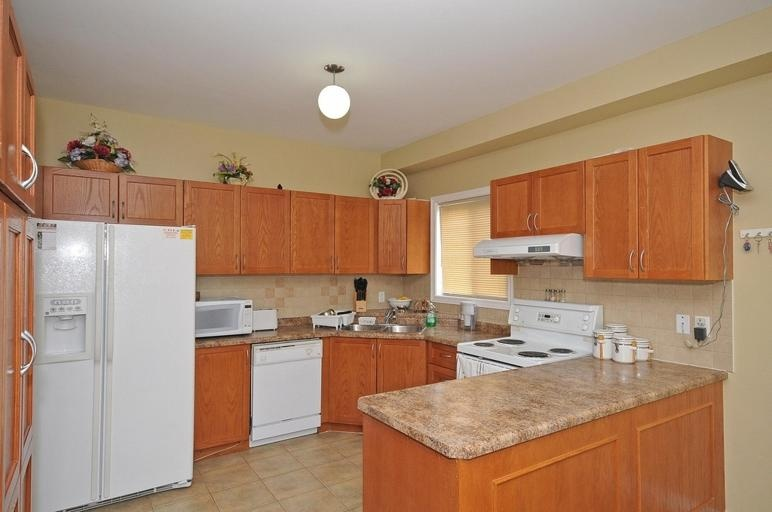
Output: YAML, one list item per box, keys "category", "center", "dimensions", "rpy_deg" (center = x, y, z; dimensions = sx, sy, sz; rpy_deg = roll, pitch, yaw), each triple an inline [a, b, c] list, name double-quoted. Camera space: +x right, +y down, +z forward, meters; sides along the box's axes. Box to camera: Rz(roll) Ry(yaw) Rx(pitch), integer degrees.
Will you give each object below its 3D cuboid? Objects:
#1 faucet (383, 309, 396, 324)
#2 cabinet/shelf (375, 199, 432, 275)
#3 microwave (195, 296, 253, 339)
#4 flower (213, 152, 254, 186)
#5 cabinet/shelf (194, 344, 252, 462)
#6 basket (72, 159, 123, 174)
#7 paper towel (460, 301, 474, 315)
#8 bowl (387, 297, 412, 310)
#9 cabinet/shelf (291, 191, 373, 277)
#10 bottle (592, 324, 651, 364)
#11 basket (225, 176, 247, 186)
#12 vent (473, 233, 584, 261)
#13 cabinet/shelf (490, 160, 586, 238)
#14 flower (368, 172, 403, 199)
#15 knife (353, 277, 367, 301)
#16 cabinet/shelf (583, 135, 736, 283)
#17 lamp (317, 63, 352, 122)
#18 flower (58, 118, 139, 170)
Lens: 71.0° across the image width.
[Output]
- category: "faucet"
  center: [0.040, 0.665, 5.876]
  dimensions: [0.118, 0.123, 0.226]
  rpy_deg: [-1, -7, 3]
- category: "cabinet/shelf"
  center: [0.208, -0.224, 6.028]
  dimensions: [0.637, 0.804, 0.267]
  rpy_deg: [-1, 12, -10]
- category: "microwave"
  center: [-1.470, 0.572, 4.979]
  dimensions: [0.510, 0.298, 0.343]
  rpy_deg: [2, -6, -33]
- category: "flower"
  center: [-1.542, -0.880, 5.380]
  dimensions: [0.407, 0.278, 0.398]
  rpy_deg: [-3, -7, 23]
- category: "cabinet/shelf"
  center: [-1.466, 1.244, 4.847]
  dimensions: [0.517, 0.864, 0.234]
  rpy_deg: [-3, 13, -21]
- category: "basket"
  center: [-2.491, -0.781, 4.685]
  dimensions: [0.345, 0.117, 0.117]
  rpy_deg: [-5, 13, -28]
- category: "paper towel"
  center: [0.825, 0.540, 5.542]
  dimensions: [0.191, 0.166, 0.105]
  rpy_deg: [-5, -11, 44]
- category: "bowl"
  center: [0.160, 0.537, 6.313]
  dimensions: [0.284, 0.144, 0.319]
  rpy_deg: [1, 11, 0]
- category: "cabinet/shelf"
  center: [-0.593, -0.225, 5.670]
  dimensions: [0.995, 0.750, 0.366]
  rpy_deg: [1, -2, -30]
- category: "bottle"
  center: [1.840, 0.676, 4.204]
  dimensions: [0.268, 0.165, 0.344]
  rpy_deg: [1, -1, -35]
- category: "basket"
  center: [-1.455, -0.728, 5.232]
  dimensions: [0.123, 0.041, 0.107]
  rpy_deg: [-1, -2, 16]
- category: "vent"
  center: [1.208, -0.091, 4.593]
  dimensions: [0.253, 0.286, 0.916]
  rpy_deg: [-9, 15, -41]
- category: "cabinet/shelf"
  center: [1.314, -0.461, 4.611]
  dimensions: [0.309, 0.529, 0.788]
  rpy_deg: [7, -6, -41]
- category: "flower"
  center: [0.032, -0.814, 6.123]
  dimensions: [0.408, 0.310, 0.264]
  rpy_deg: [1, 11, 0]
- category: "knife"
  center: [-0.288, 0.372, 6.165]
  dimensions: [0.165, 0.235, 0.285]
  rpy_deg: [1, 11, -2]
- category: "cabinet/shelf"
  center: [2.033, -0.326, 3.960]
  dimensions: [0.653, 1.249, 1.131]
  rpy_deg: [5, -7, -38]
- category: "lamp"
  center: [-0.423, -1.366, 4.542]
  dimensions: [0.242, 0.407, 0.577]
  rpy_deg: [0, 11, -3]
- category: "flower"
  center: [-2.596, -0.923, 4.791]
  dimensions: [0.481, 0.295, 0.448]
  rpy_deg: [15, -8, -22]
